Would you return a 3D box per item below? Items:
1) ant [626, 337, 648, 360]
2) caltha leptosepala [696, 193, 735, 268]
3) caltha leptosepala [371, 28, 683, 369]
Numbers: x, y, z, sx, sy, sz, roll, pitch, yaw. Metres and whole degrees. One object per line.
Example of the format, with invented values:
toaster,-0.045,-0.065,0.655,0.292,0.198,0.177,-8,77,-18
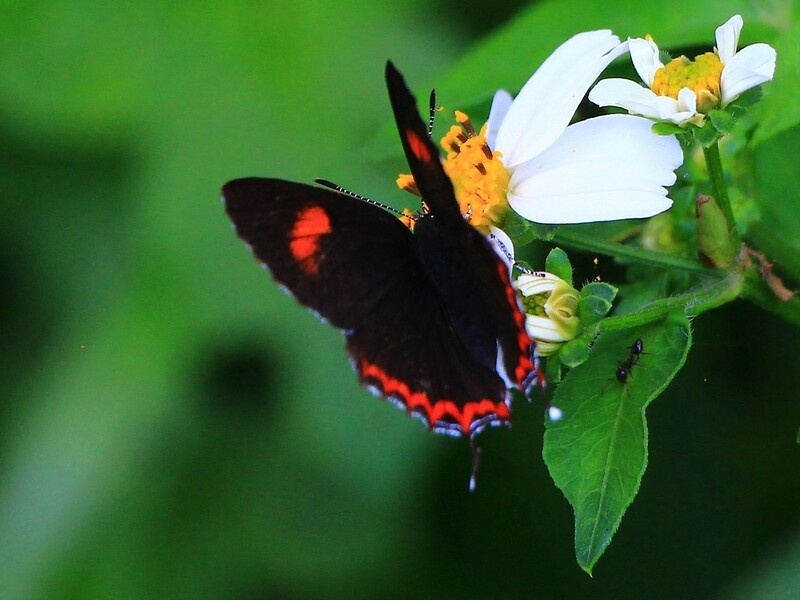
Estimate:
ant,0.486,0.100,1.637,0.033,0.054,0.065,-8,-13,17
caltha leptosepala,0.666,-0.136,1.689,0.081,0.157,0.035,-18,20,-14
caltha leptosepala,0.290,-0.290,1.680,0.598,0.675,0.307,-29,-29,30
